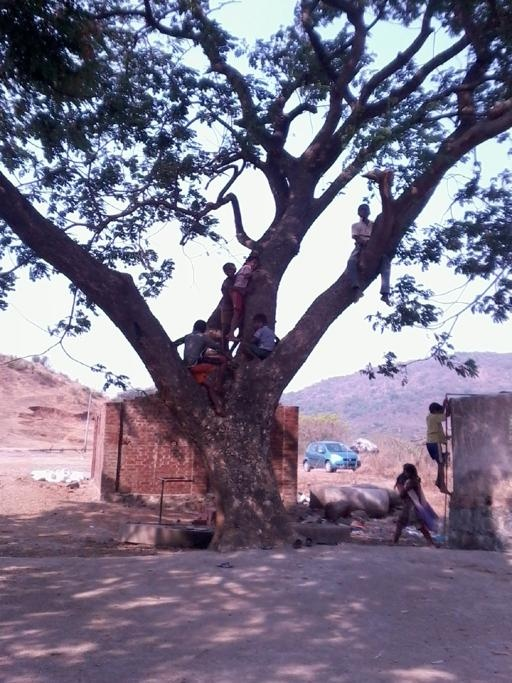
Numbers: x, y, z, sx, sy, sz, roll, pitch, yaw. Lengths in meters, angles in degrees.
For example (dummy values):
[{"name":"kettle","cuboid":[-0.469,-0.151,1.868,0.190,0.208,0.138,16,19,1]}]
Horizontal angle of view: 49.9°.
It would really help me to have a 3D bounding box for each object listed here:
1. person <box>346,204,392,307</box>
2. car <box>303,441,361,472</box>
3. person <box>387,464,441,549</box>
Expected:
[{"name":"person","cuboid":[1.724,-1.424,8.496,0.681,1.778,0.630,-7,-22,26]},{"name":"car","cuboid":[4.208,6.244,29.731,1.639,1.217,2.720,6,-20,-22]},{"name":"person","cuboid":[2.729,2.854,9.547,0.731,1.406,0.997,-1,-12,14]}]
